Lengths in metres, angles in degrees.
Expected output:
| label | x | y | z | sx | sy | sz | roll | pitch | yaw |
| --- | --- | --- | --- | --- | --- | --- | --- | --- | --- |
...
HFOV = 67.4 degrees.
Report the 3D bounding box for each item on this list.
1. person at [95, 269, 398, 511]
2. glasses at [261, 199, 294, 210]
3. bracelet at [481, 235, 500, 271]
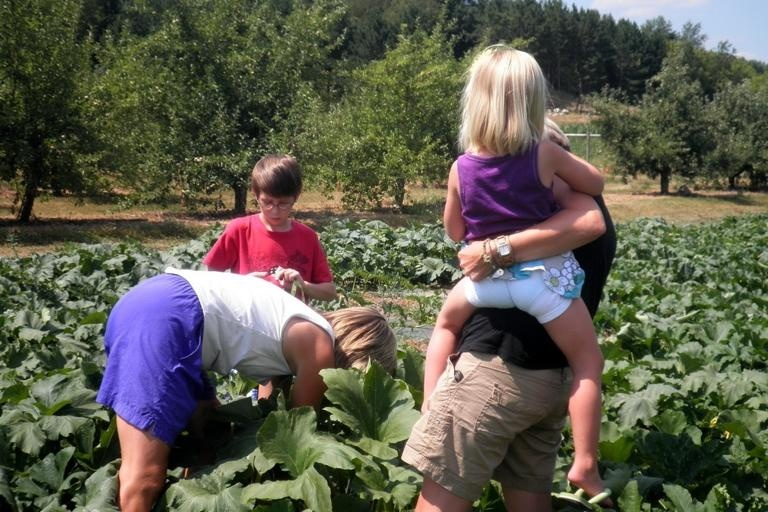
| label | x | y | z | sx | sy | sz | roll | pitch | yaw |
| --- | --- | --- | --- | --- | --- | --- | --- | --- | --- |
| person | -0.871 | 0.523 | 3.644 | 1.760 | 1.126 | 1.021 | -9 | 34 | -23 |
| glasses | -0.810 | -0.401 | 4.339 | 0.254 | 0.096 | 0.175 | 3 | 7 | -11 |
| bracelet | 0.553 | -0.014 | 2.996 | 0.086 | 0.165 | 0.145 | -7 | -14 | 2 |
